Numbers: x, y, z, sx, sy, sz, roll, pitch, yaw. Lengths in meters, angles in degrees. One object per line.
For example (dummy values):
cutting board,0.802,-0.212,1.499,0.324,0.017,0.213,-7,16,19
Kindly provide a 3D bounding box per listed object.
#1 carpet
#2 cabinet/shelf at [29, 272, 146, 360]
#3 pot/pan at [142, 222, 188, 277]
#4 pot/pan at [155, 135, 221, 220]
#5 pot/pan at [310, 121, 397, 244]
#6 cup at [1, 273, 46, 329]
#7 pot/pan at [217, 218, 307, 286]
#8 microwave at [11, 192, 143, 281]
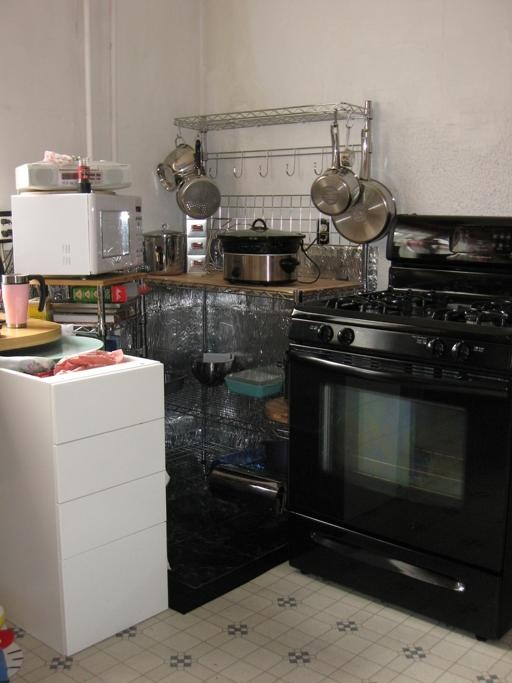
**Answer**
carpet,-0.087,0.647,1.993,0.423,0.045,0.933,1,5,-9
cabinet/shelf,-0.620,-0.112,2.251,0.309,0.266,0.292,-1,14,1
pot/pan,-0.442,-0.437,2.824,0.235,0.226,0.221,-4,14,-14
pot/pan,-0.363,-0.849,3.044,0.301,0.418,0.305,1,5,-16
pot/pan,0.414,-0.665,2.462,0.349,0.538,0.170,6,23,32
cup,-0.639,-0.115,1.629,0.082,0.144,0.225,1,5,-9
pot/pan,0.033,-0.390,2.461,0.350,0.221,0.295,0,13,3
microwave,-0.634,-0.394,2.191,0.370,0.306,0.505,3,11,9
